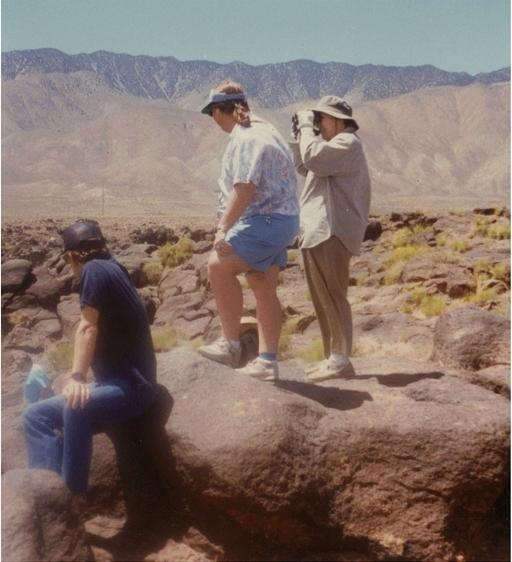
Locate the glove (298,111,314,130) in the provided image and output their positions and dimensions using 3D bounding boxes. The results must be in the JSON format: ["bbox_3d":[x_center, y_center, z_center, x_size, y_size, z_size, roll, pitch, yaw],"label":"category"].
[{"bbox_3d":[0.322,-1.043,4.781,0.105,0.137,0.111,-2,0,23],"label":"glove"}]

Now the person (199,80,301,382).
[{"bbox_3d":[-0.056,-0.276,4.352,0.625,1.780,0.476,-2,9,4],"label":"person"}]

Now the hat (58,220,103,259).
[{"bbox_3d":[-0.919,-0.206,3.934,0.227,0.222,0.179,12,2,41],"label":"hat"}]

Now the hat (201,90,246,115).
[{"bbox_3d":[-0.194,-1.056,4.330,0.175,0.071,0.138,-11,3,8],"label":"hat"}]

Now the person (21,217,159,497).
[{"bbox_3d":[-0.859,0.398,3.842,0.741,1.369,0.422,-7,10,-21],"label":"person"}]

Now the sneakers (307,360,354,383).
[{"bbox_3d":[0.485,0.590,4.790,0.206,0.102,0.156,-5,3,5],"label":"sneakers"}]

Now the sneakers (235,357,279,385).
[{"bbox_3d":[0.012,0.537,4.411,0.282,0.149,0.113,6,0,2],"label":"sneakers"}]

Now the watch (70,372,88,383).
[{"bbox_3d":[-0.882,0.481,3.669,0.044,0.018,0.060,14,-5,25],"label":"watch"}]

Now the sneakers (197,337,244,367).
[{"bbox_3d":[-0.218,0.409,4.459,0.233,0.162,0.141,19,-2,-4],"label":"sneakers"}]

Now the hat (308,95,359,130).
[{"bbox_3d":[0.511,-1.109,4.803,0.292,0.131,0.242,28,-16,-30],"label":"hat"}]

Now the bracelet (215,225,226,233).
[{"bbox_3d":[-0.204,-0.289,4.142,0.040,0.033,0.068,-13,13,-41],"label":"bracelet"}]
